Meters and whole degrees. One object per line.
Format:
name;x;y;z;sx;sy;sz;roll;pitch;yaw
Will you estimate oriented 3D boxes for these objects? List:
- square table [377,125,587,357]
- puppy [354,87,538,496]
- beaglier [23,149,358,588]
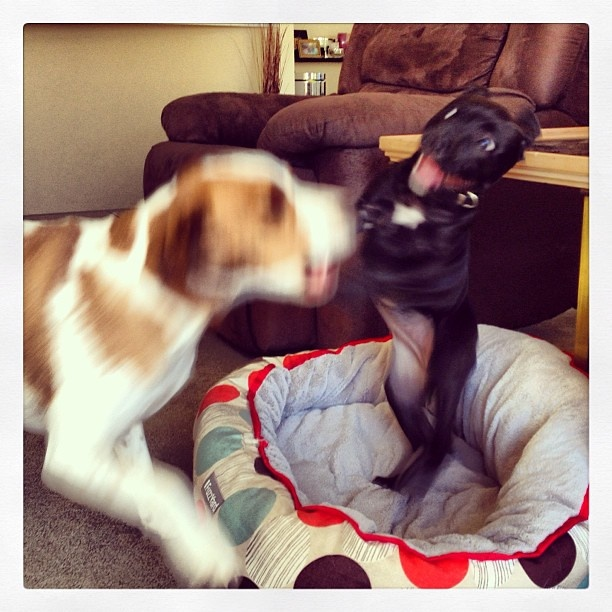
square table;0.272;-0.112;0.951;0.327;0.351;0.254;-6;26;-21
puppy;0.163;-0.048;1.027;0.310;0.634;0.302;9;28;7
beaglier;-0.193;0.145;0.926;0.397;0.722;0.446;-6;27;-18
